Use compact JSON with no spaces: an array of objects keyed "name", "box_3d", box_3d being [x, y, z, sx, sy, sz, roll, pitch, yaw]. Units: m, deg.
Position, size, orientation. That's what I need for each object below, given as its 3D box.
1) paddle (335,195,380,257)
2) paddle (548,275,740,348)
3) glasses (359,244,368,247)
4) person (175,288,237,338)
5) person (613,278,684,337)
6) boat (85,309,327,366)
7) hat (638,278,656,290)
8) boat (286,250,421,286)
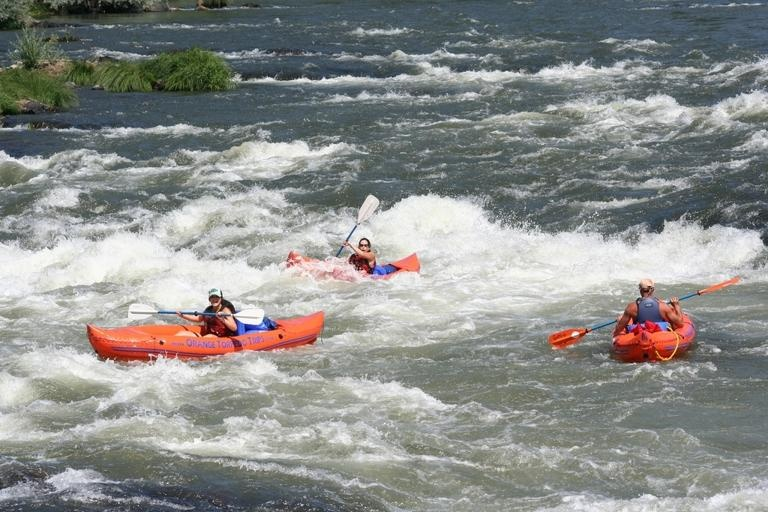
[{"name":"paddle","box_3d":[-0.687,-0.742,35.914,2.412,0.098,0.385,-44,78,-9]},{"name":"paddle","box_3d":[6.197,1.358,31.681,5.509,0.618,0.151,-12,65,-5]},{"name":"glasses","box_3d":[-0.478,-0.263,33.865,0.189,0.062,0.025,-1,18,-1]},{"name":"person","box_3d":[-4.155,1.351,31.399,1.029,0.707,1.086,-15,43,9]},{"name":"person","box_3d":[6.127,1.164,30.712,1.407,0.661,1.689,4,18,18]},{"name":"boat","box_3d":[-4.030,1.868,31.037,5.746,0.763,1.450,-2,10,-11]},{"name":"hat","box_3d":[6.045,0.632,30.895,0.300,0.257,0.313,10,34,18]},{"name":"boat","box_3d":[-0.761,0.299,33.952,3.078,0.411,1.086,0,7,-7]}]
